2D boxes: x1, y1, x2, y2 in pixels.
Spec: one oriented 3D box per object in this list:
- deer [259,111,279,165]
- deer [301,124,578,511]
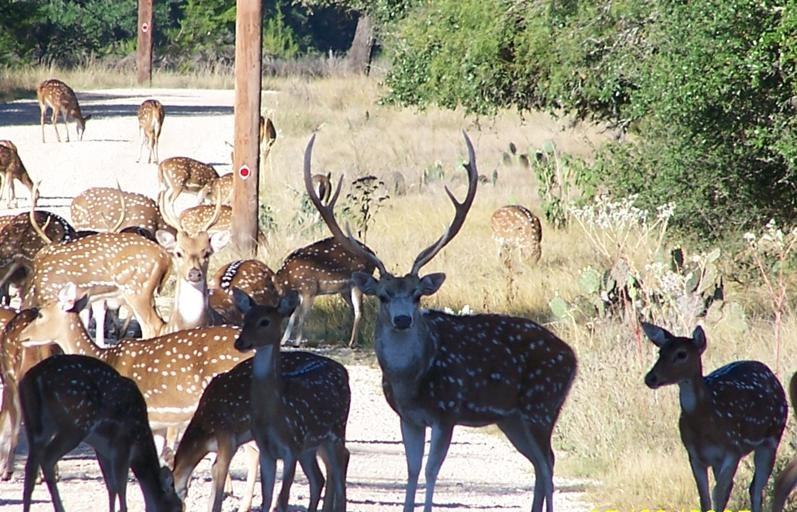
[{"bbox_3d":[-2.552,-2.270,26.296,0.528,1.019,0.942,0,-4,-2],"label":"deer"},{"bbox_3d":[0.767,0.851,16.215,2.714,4.312,1.013,3,8,-2],"label":"deer"}]
